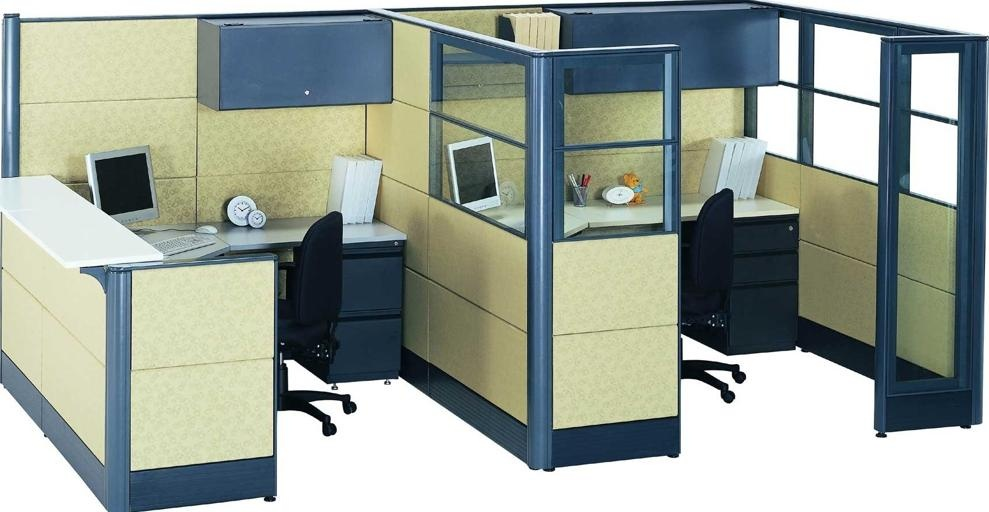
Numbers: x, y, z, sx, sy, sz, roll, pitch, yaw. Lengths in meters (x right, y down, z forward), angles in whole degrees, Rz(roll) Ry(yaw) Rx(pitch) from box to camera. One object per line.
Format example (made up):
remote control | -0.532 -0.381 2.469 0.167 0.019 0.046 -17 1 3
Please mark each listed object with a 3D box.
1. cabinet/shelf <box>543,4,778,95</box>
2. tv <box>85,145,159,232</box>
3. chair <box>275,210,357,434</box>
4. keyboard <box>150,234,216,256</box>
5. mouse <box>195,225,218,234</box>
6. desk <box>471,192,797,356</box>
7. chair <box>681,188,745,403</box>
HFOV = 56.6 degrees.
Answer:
cabinet/shelf | 1.563 -1.859 8.200 2.062 0.732 0.553 -6 19 -19
tv | -3.046 -0.549 7.532 0.528 0.654 0.246 -12 22 -30
chair | -1.458 0.498 7.201 0.616 1.684 0.796 -4 20 -8
keyboard | -2.509 -0.094 7.356 0.300 0.061 0.503 12 20 36
mouse | -2.401 -0.217 7.650 0.141 0.034 0.095 1 10 12
desk | 1.578 0.111 8.685 2.376 1.639 1.396 -1 5 -13
chair | 1.842 0.298 7.679 0.556 1.723 0.822 3 20 10
